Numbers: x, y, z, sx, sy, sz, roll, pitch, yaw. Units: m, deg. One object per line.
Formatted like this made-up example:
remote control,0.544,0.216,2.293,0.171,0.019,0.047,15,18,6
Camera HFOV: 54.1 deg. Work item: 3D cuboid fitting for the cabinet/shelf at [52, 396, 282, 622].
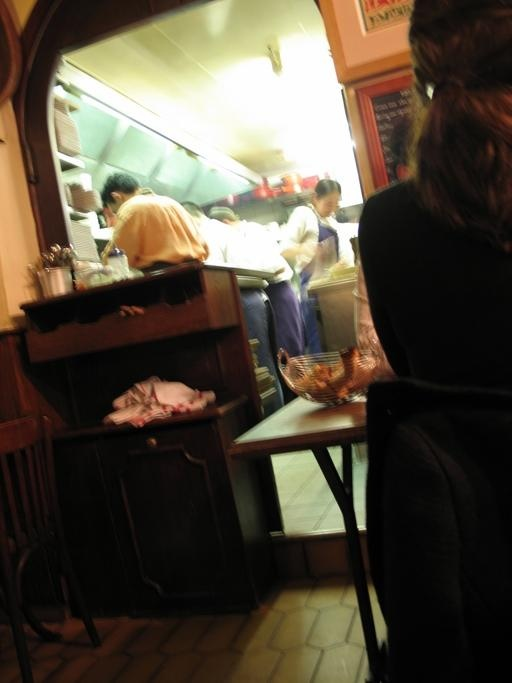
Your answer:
cabinet/shelf,-0.418,0.689,2.179,0.775,0.786,0.530,-11,3,9

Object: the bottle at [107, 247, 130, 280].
bottle,-0.540,-0.302,1.956,0.076,0.111,0.045,-11,-2,-13

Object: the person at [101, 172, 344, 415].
person,-0.236,-0.424,2.828,0.912,0.931,1.208,-12,-2,26

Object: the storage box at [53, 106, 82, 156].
storage box,-0.968,-1.066,2.559,0.055,0.211,0.227,-6,1,18

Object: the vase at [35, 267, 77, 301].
vase,-0.833,-0.228,2.091,0.138,0.147,0.150,-11,-1,-22
